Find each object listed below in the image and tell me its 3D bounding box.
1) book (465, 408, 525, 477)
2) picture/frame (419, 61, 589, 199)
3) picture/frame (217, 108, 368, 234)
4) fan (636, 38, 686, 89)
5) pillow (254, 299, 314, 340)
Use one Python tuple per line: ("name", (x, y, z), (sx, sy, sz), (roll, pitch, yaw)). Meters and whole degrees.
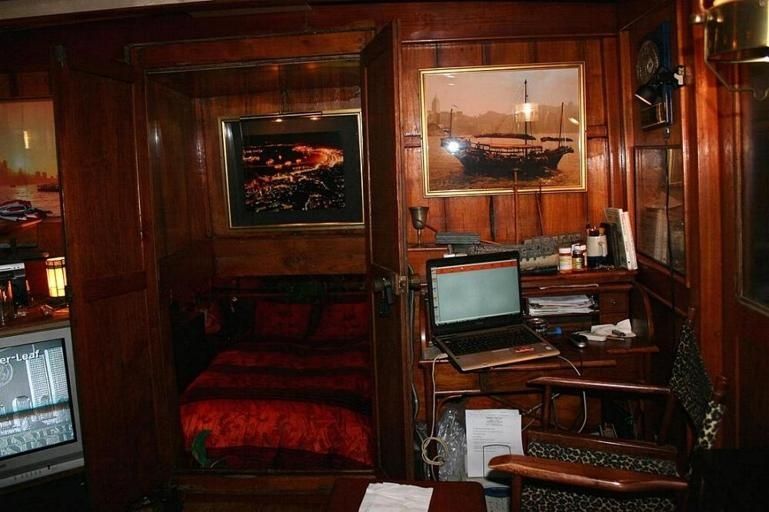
("book", (0.714, 1.230, 3.817), (0.487, 0.458, 0.112), (0, -6, 3))
("picture/frame", (0.897, -1.003, 4.396), (1.086, 0.724, 0.050), (-1, 2, -2))
("picture/frame", (-0.776, -0.792, 5.150), (1.200, 0.819, 0.044), (-1, 6, 4))
("fan", (1.789, -1.319, 3.878), (0.255, 0.353, 0.111), (5, -22, -28))
("pillow", (-0.954, 0.572, 5.501), (0.548, 0.411, 0.117), (16, -1, -17))
